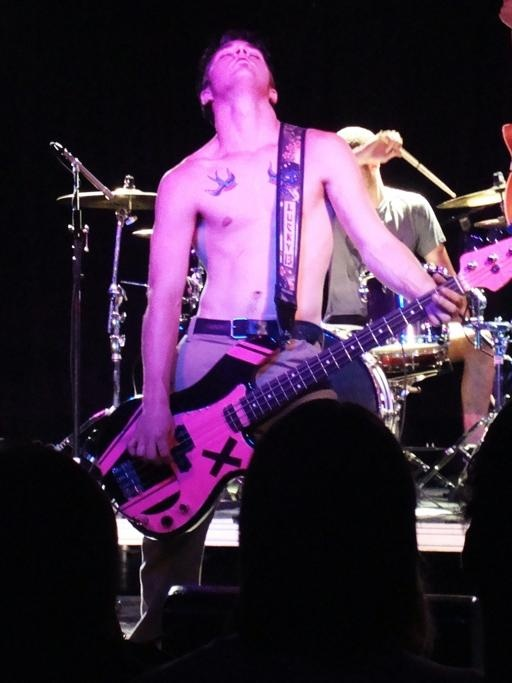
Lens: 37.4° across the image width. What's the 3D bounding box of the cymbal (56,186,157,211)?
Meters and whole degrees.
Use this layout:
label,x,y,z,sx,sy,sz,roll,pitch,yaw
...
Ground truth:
label,x,y,z,sx,sy,sz,roll,pitch,yaw
cymbal,-0.830,-0.821,4.421,0.405,0.095,0.413,-1,2,8
